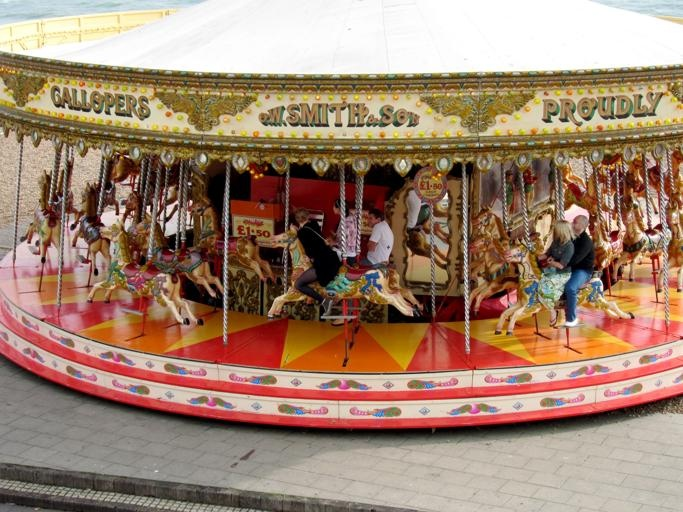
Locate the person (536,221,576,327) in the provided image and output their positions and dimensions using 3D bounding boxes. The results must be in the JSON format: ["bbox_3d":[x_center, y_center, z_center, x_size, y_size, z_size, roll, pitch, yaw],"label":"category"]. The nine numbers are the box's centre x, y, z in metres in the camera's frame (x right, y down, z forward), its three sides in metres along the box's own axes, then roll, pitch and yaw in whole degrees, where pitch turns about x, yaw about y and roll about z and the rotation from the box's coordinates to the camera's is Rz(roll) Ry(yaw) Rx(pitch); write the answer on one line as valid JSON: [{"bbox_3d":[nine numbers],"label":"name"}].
[{"bbox_3d":[2.734,0.100,10.357,0.433,1.204,0.302,4,10,12],"label":"person"}]

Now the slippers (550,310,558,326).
[{"bbox_3d":[2.882,0.875,11.066,0.089,0.270,0.111,-3,-32,28],"label":"slippers"}]

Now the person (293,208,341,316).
[{"bbox_3d":[-0.307,0.104,10.341,0.565,1.446,0.617,0,9,-8],"label":"person"}]

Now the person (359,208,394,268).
[{"bbox_3d":[0.472,-0.247,10.389,0.352,0.765,0.704,2,9,1],"label":"person"}]
